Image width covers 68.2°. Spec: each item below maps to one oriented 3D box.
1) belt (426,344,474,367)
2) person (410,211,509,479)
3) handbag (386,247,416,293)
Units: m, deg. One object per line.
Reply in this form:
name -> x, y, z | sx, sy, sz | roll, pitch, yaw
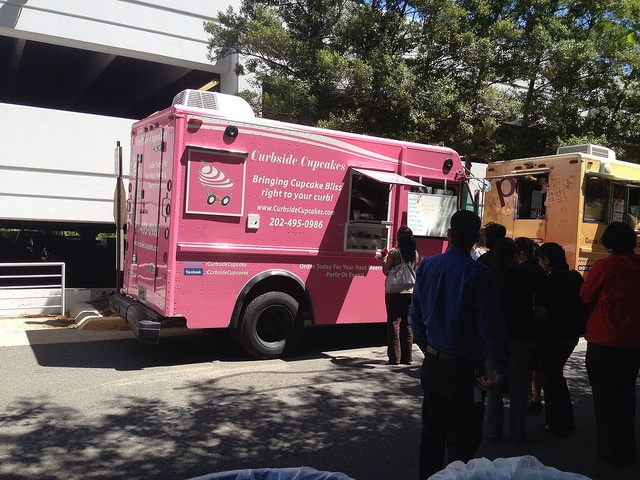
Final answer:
belt -> 1.109, 1.009, 4.066 | 0.401, 0.126, 0.103 | 4, 4, 24
person -> 1.208, 0.931, 4.130 | 0.758, 2.374, 0.476 | 3, 3, 12
handbag -> 1.287, 0.567, 7.798 | 0.456, 0.515, 0.234 | -17, 10, 36
